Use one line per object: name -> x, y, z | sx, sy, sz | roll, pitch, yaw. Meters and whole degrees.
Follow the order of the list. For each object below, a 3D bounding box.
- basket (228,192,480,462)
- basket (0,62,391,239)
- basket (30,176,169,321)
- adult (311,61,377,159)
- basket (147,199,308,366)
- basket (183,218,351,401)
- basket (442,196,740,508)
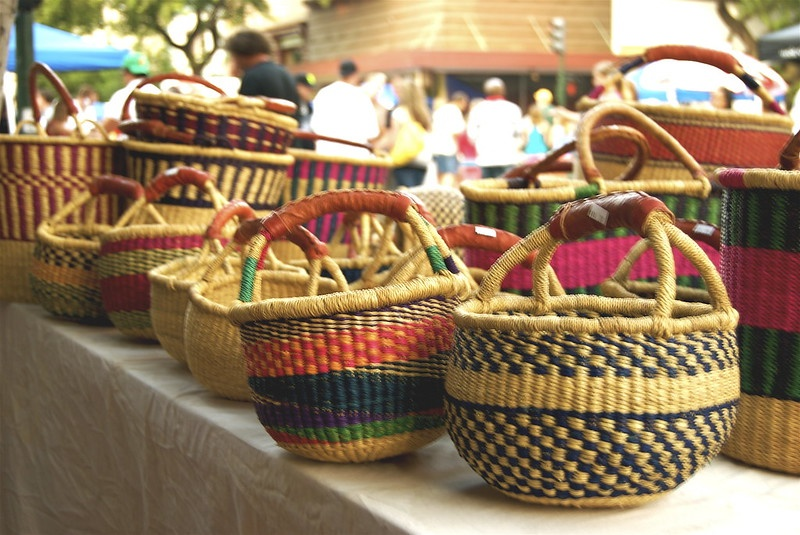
basket -> -0.154, 0.164, 2.648 | 0.670, 0.764, 0.286 | 1, 12, 2
basket -> -1.137, -0.453, 4.353 | 1.409, 0.414, 0.954 | 0, 0, 27
basket -> -1.225, -0.106, 3.996 | 0.485, 0.552, 0.676 | 17, 17, 40
adult -> -0.439, -1.177, 6.389 | 0.337, 0.167, 0.640 | 11, -29, -9
basket -> -0.612, 0.082, 3.319 | 0.536, 0.551, 0.627 | -2, 23, -33
basket -> -0.511, 0.140, 3.379 | 0.681, 0.675, 0.810 | 3, -14, 2
basket -> 0.590, 0.197, 2.691 | 0.967, 0.777, 0.869 | -2, 6, 10
